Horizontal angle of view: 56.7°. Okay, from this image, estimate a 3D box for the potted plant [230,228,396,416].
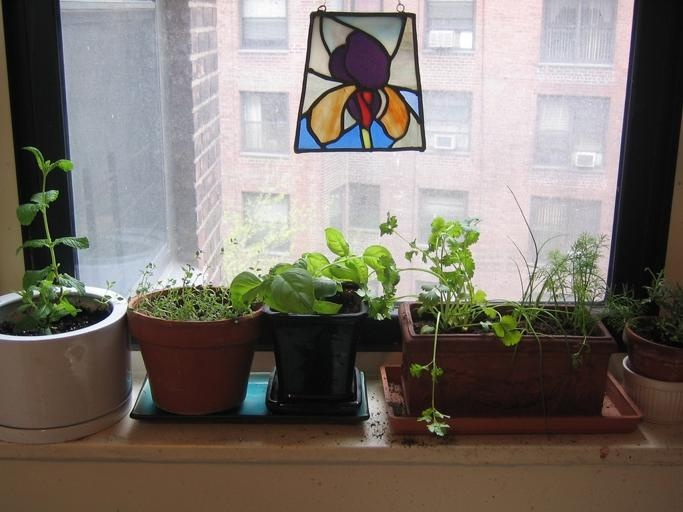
[{"bbox_3d":[-0.046,0.144,1.570,0.404,0.455,0.345,-1,10,1],"label":"potted plant"}]

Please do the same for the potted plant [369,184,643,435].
[{"bbox_3d":[0.381,0.172,1.614,0.566,0.572,0.461,-1,19,1],"label":"potted plant"}]
